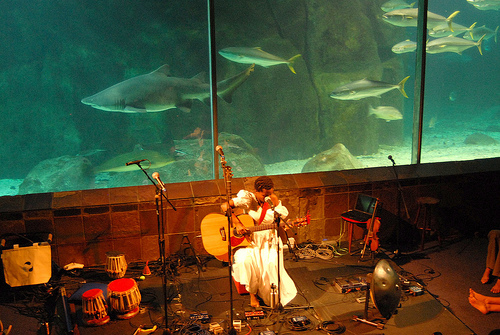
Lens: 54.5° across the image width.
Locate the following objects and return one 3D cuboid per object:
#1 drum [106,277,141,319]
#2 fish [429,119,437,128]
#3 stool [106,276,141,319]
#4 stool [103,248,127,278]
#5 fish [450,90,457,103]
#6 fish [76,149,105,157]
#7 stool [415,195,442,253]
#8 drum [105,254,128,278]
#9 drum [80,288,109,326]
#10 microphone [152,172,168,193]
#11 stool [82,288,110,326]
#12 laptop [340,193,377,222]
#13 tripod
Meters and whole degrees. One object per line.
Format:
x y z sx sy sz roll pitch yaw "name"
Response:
-2.319 2.369 8.771 0.608 0.534 0.591 -14 21 -40 "drum"
4.551 -1.114 12.175 0.133 0.260 0.144 12 17 1 "fish"
-2.211 2.358 8.769 0.682 0.589 0.641 -1 15 -2 "stool"
-2.555 1.905 9.501 0.369 0.434 0.491 -4 0 25 "stool"
5.087 -1.769 12.194 0.254 0.220 0.066 16 3 -31 "fish"
-3.565 -0.317 10.897 0.583 0.169 0.032 -7 1 -14 "fish"
3.811 1.168 10.411 0.556 1.070 0.697 -8 1 20 "stool"
-2.655 1.914 9.360 0.483 0.423 0.330 0 -3 -37 "drum"
-2.829 2.563 8.642 0.508 0.524 0.492 -17 -11 -1 "drum"
-1.737 0.296 9.309 0.147 0.423 0.142 -44 0 -35 "microphone"
-2.777 2.524 8.635 0.473 0.484 0.468 -9 -3 -6 "stool"
2.287 0.887 10.098 0.483 0.599 0.591 7 11 -45 "laptop"
0.468 1.990 9.024 1.117 1.610 0.550 -6 -1 20 "tripod"
